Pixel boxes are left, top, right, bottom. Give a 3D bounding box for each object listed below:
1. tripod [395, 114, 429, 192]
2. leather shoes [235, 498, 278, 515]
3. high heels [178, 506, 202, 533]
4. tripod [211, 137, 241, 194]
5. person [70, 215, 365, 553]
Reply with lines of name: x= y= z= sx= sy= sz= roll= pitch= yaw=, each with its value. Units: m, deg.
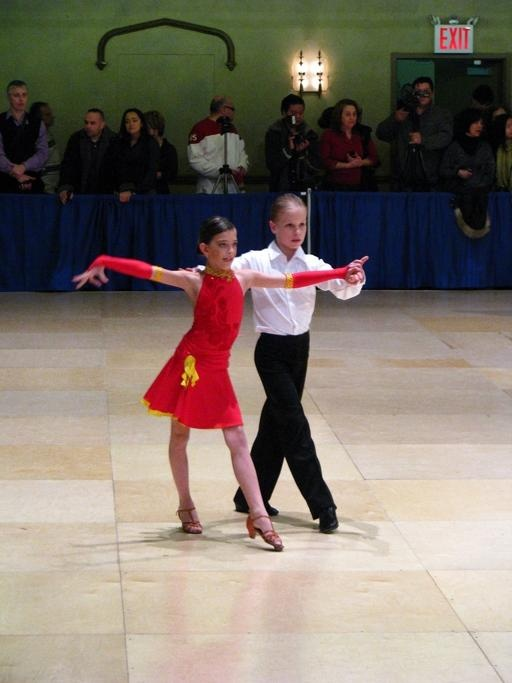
tripod: x=2.086 y=-2.523 z=10.384 sx=0.355 sy=1.061 sz=0.441 roll=-1 pitch=8 yaw=-12
leather shoes: x=-0.007 y=0.703 z=3.338 sx=0.194 sy=0.058 sz=0.062 roll=1 pitch=8 yaw=12
high heels: x=-0.264 y=0.700 z=3.054 sx=0.058 sy=0.051 sz=0.152 roll=-4 pitch=8 yaw=-20
tripod: x=-0.411 y=-2.256 z=9.998 sx=0.319 sy=0.743 sz=0.544 roll=1 pitch=7 yaw=2
person: x=-0.174 y=0.160 z=2.903 sx=0.908 sy=1.239 sz=0.483 roll=1 pitch=8 yaw=0
